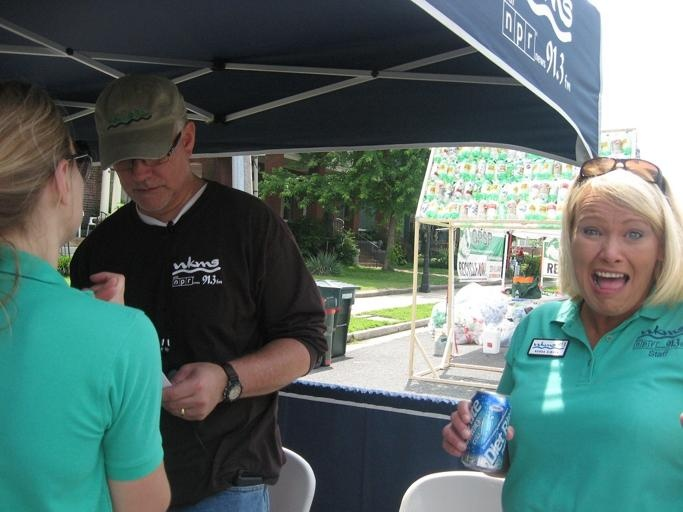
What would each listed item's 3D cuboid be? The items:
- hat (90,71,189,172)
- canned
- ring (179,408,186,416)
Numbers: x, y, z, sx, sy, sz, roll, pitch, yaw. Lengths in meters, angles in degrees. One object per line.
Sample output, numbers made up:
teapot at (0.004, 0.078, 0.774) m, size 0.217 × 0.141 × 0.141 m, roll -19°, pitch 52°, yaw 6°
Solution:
hat at (-0.890, -0.623, 2.629) m, size 0.304 × 0.238 × 0.445 m, roll -7°, pitch 30°, yaw 9°
canned at (0.553, 0.657, 2.247) m, size 0.169 × 0.314 × 0.168 m, roll 0°, pitch 1°, yaw -39°
ring at (-0.597, 0.587, 2.172) m, size 0.016 × 0.017 × 0.030 m, roll 20°, pitch -38°, yaw -3°
